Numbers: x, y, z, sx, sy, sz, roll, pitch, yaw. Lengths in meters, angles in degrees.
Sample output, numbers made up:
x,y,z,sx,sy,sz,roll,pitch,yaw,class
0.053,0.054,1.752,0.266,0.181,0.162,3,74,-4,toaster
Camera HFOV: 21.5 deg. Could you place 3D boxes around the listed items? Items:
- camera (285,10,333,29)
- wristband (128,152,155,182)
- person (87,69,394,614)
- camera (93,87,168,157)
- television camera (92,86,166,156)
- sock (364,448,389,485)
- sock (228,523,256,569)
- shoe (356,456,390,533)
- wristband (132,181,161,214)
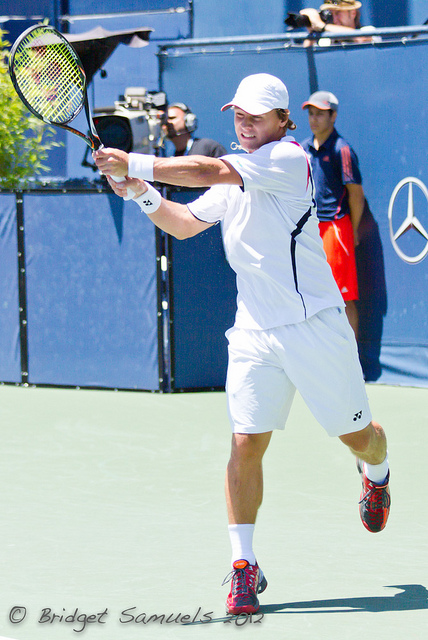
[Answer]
x,y,z,sx,sy,sz,roll,pitch,yaw,class
0.675,-2.172,8.101,0.252,0.121,0.172,-1,-9,14,camera
-0.250,-0.529,3.942,0.098,0.113,0.080,2,8,2,wristband
0.176,0.055,4.132,1.120,1.874,0.641,-1,7,-8,person
-0.679,-1.704,10.021,0.429,0.659,0.858,2,10,29,camera
-0.699,-1.720,10.033,0.586,0.763,0.853,2,12,39,television camera
0.656,0.596,4.551,0.069,0.133,0.127,-7,24,4,sock
0.099,0.809,4.009,0.070,0.173,0.171,-3,53,4,sock
0.643,0.720,4.579,0.175,0.250,0.411,1,2,3,shoe
-0.238,-0.444,4.135,0.090,0.114,0.100,-8,8,-27,wristband
